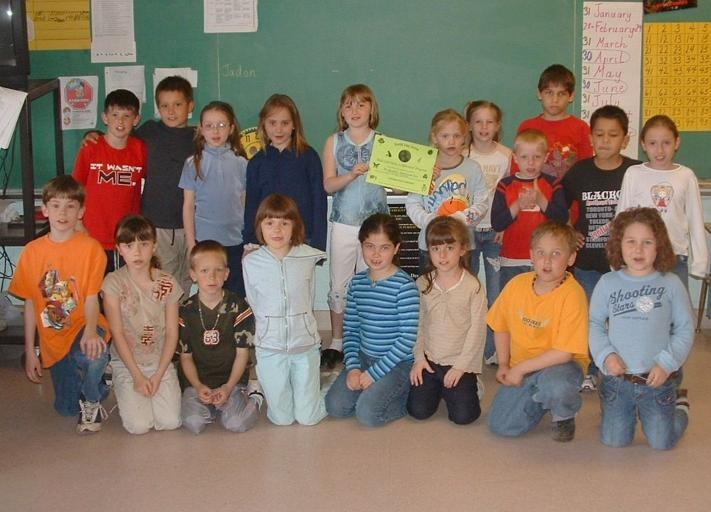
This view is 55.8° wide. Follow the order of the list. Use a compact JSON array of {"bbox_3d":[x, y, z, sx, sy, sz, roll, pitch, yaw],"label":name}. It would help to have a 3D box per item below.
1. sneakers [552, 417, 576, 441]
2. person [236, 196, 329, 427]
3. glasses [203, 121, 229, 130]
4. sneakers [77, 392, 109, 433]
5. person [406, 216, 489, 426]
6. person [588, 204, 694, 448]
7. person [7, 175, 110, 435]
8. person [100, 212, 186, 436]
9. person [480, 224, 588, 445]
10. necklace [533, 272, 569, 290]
[{"bbox_3d":[1.027,0.857,3.375,0.111,0.110,0.106,-9,17,-24],"label":"sneakers"},{"bbox_3d":[-0.380,0.268,3.569,0.459,1.177,0.368,1,9,2],"label":"person"},{"bbox_3d":[-0.853,-0.797,4.068,0.145,0.042,0.034,-1,9,-10],"label":"glasses"},{"bbox_3d":[-1.368,0.808,3.448,0.114,0.157,0.117,-1,9,-10],"label":"sneakers"},{"bbox_3d":[0.495,0.321,3.589,0.392,1.049,0.386,2,9,10],"label":"person"},{"bbox_3d":[1.386,0.341,3.286,0.484,1.141,0.337,5,10,24],"label":"person"},{"bbox_3d":[-1.537,0.218,3.568,0.436,1.277,0.670,-7,11,-37],"label":"person"},{"bbox_3d":[-1.101,0.335,3.495,0.400,1.082,0.385,-3,10,-20],"label":"person"},{"bbox_3d":[0.936,0.357,3.439,0.528,1.055,0.407,2,9,10],"label":"person"},{"bbox_3d":[1.002,0.137,3.467,0.121,0.030,0.119,-1,-35,0],"label":"necklace"}]
